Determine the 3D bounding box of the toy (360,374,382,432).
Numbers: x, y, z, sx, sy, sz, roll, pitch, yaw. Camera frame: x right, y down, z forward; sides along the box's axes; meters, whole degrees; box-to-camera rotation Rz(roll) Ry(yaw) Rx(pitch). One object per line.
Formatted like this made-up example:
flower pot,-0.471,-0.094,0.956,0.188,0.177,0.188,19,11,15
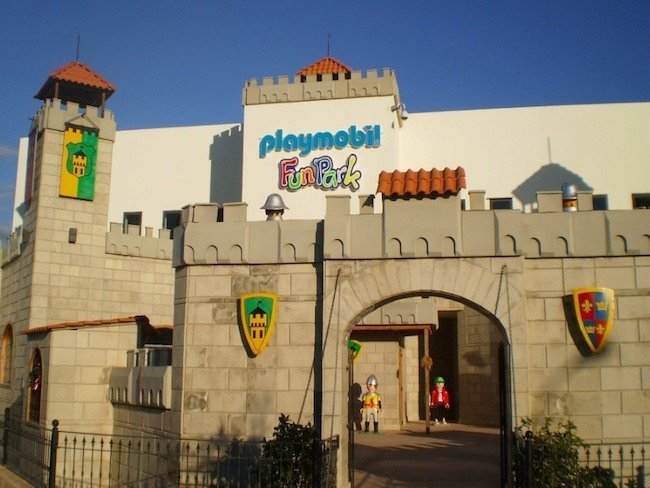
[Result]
toy,1.725,5.921,29.327,0.680,2.047,0.908,-1,-13,3
